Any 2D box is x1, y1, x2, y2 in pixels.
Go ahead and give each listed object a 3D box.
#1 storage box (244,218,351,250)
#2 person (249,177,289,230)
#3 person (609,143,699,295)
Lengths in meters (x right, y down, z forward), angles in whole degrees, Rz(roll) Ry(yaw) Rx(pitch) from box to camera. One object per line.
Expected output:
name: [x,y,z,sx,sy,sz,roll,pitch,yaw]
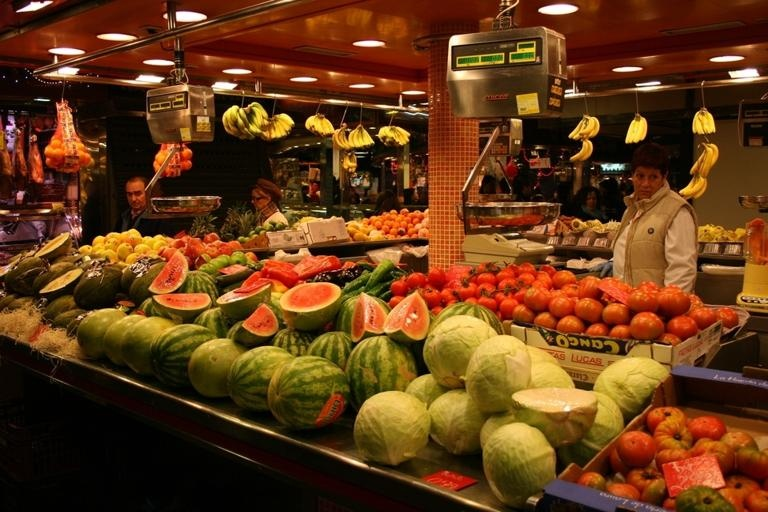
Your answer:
storage box: [-1.061,-0.360,6.841,1.228,0.377,1.578,-4,11,-39]
person: [-1.606,-0.746,7.129,0.506,0.772,0.496,14,18,42]
person: [2.080,-0.189,4.072,0.814,1.373,0.851,1,2,31]
